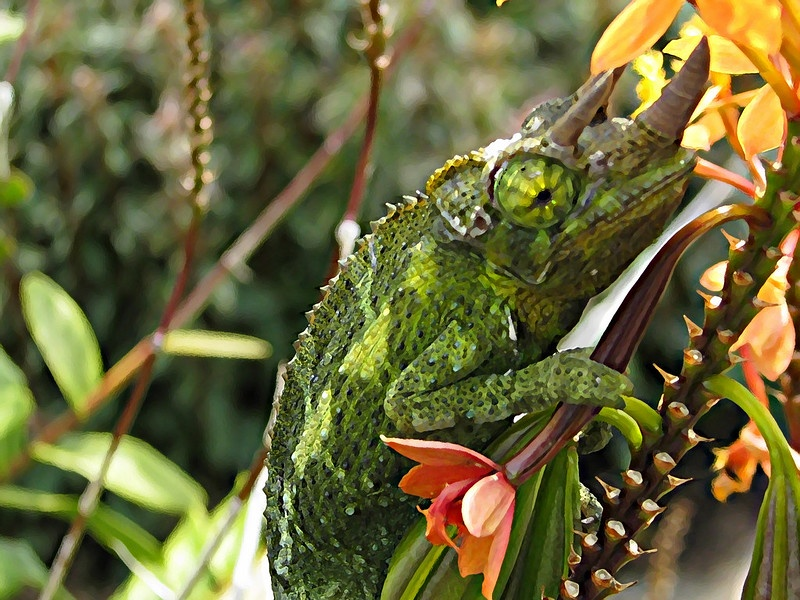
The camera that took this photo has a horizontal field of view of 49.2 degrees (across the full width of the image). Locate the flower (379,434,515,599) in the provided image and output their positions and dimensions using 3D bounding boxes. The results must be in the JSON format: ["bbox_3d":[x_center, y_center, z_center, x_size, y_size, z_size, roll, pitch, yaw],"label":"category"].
[{"bbox_3d":[0.031,0.206,0.874,0.059,0.136,0.154,-20,23,3],"label":"flower"}]
